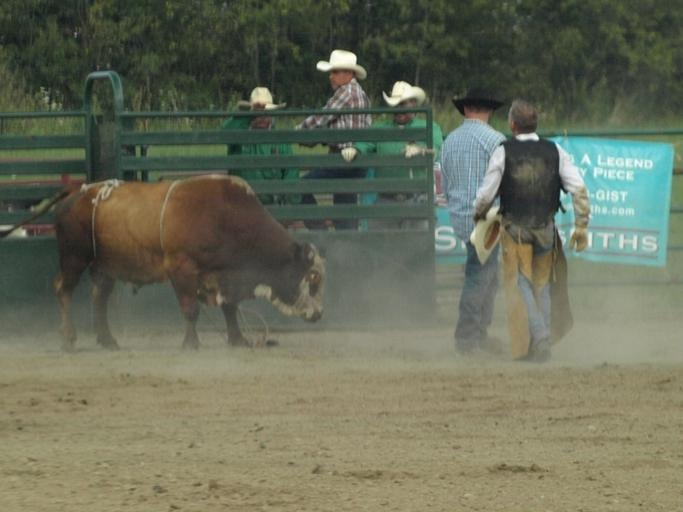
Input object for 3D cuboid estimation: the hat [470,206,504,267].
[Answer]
[{"bbox_3d":[2.440,-0.423,35.577,0.408,1.075,0.477,0,9,-9],"label":"hat"}]
